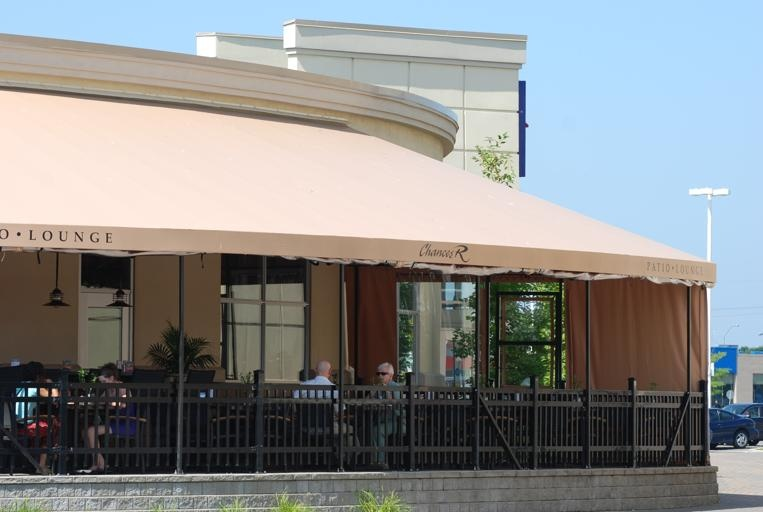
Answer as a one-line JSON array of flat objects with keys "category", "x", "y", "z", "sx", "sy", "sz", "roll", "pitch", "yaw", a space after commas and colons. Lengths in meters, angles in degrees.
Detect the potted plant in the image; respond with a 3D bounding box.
[{"category": "potted plant", "x": -3.969, "y": 1.999, "z": 42.134, "sx": 1.297, "sy": 1.226, "sz": 1.257, "roll": 7, "pitch": -14, "yaw": -28}]
